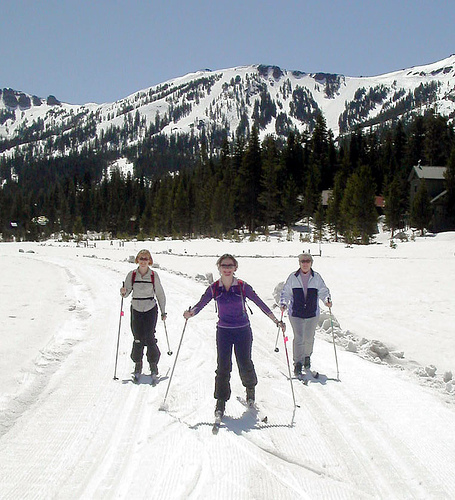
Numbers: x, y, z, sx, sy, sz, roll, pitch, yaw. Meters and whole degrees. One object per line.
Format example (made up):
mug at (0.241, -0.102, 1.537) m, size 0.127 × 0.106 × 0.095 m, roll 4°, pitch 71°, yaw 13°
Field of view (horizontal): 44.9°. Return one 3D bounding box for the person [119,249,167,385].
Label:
person at (-1.346, 1.036, 8.853) m, size 0.664 × 2.074 × 0.469 m, roll -1°, pitch 3°, yaw -11°

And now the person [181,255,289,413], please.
person at (0.078, 1.115, 7.512) m, size 1.210 × 2.621 × 0.656 m, roll -1°, pitch 31°, yaw 1°

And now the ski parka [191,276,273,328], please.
ski parka at (0.040, 0.680, 7.433) m, size 1.055 × 0.679 × 0.330 m, roll 0°, pitch 3°, yaw 7°

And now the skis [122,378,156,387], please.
skis at (-1.400, 2.057, 8.715) m, size 0.568 × 0.042 × 0.286 m, roll 1°, pitch 5°, yaw 8°

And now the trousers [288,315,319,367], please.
trousers at (1.296, 1.394, 9.205) m, size 0.408 × 1.558 × 0.426 m, roll -3°, pitch 40°, yaw 3°

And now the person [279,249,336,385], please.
person at (1.265, 1.068, 8.927) m, size 0.631 × 2.188 × 0.710 m, roll 6°, pitch 16°, yaw 30°

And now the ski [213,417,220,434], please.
ski at (-0.150, 2.258, 7.144) m, size 0.081 × 0.109 × 0.264 m, roll 0°, pitch 4°, yaw 4°

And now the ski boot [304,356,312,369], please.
ski boot at (1.344, 1.876, 9.278) m, size 0.108 × 0.296 × 0.121 m, roll 1°, pitch -7°, yaw -22°

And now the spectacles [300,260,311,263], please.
spectacles at (1.258, 0.177, 8.884) m, size 0.154 × 0.043 × 0.070 m, roll 0°, pitch 4°, yaw -3°

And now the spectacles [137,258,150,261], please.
spectacles at (-1.339, 0.145, 8.708) m, size 0.123 × 0.044 × 0.052 m, roll -1°, pitch 4°, yaw -13°

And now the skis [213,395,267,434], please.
skis at (0.162, 2.233, 7.461) m, size 0.081 × 0.193 × 1.158 m, roll 31°, pitch 21°, yaw 18°

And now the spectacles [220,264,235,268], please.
spectacles at (0.000, 0.204, 7.285) m, size 0.179 × 0.045 × 0.055 m, roll -1°, pitch 4°, yaw -13°

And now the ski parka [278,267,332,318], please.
ski parka at (1.311, 0.722, 9.008) m, size 0.622 × 0.948 × 0.430 m, roll -3°, pitch -22°, yaw 22°

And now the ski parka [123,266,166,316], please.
ski parka at (-1.406, 0.715, 9.106) m, size 0.480 × 0.956 × 0.757 m, roll 4°, pitch -11°, yaw -22°

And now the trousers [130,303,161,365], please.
trousers at (-1.350, 1.277, 9.019) m, size 0.465 × 1.639 × 0.460 m, roll 3°, pitch 37°, yaw -7°
